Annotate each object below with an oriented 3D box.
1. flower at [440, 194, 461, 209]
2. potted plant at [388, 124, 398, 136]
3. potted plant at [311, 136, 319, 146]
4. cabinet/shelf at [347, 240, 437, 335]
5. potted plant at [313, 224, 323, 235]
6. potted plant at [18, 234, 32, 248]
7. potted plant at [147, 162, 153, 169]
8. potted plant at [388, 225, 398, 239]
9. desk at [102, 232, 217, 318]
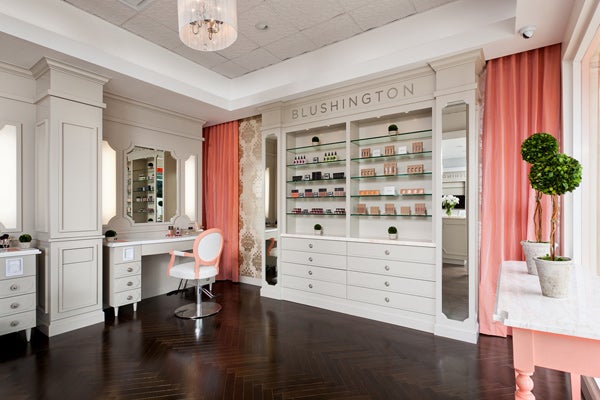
[{"bbox_3d":[2.079,0.012,5.434,0.196,0.161,0.195,1,2,24],"label":"flower"},{"bbox_3d":[1.419,-1.088,6.014,0.170,0.192,0.163,-2,1,-7],"label":"potted plant"},{"bbox_3d":[0.262,-1.026,6.771,0.157,0.170,0.146,-4,-5,31],"label":"potted plant"},{"bbox_3d":[1.409,1.304,5.807,1.307,1.039,0.514,-2,-6,30],"label":"cabinet/shelf"},{"bbox_3d":[0.304,0.500,6.705,0.169,0.180,0.172,1,-2,6],"label":"potted plant"},{"bbox_3d":[-3.853,0.572,5.508,0.187,0.218,0.181,1,-8,-21],"label":"potted plant"},{"bbox_3d":[-2.660,-0.625,6.986,0.086,0.071,0.092,1,-8,7],"label":"potted plant"},{"bbox_3d":[1.402,0.494,6.067,0.179,0.201,0.179,-1,-1,23],"label":"potted plant"},{"bbox_3d":[-2.145,1.070,6.456,1.788,1.341,1.107,1,6,2],"label":"desk"}]
